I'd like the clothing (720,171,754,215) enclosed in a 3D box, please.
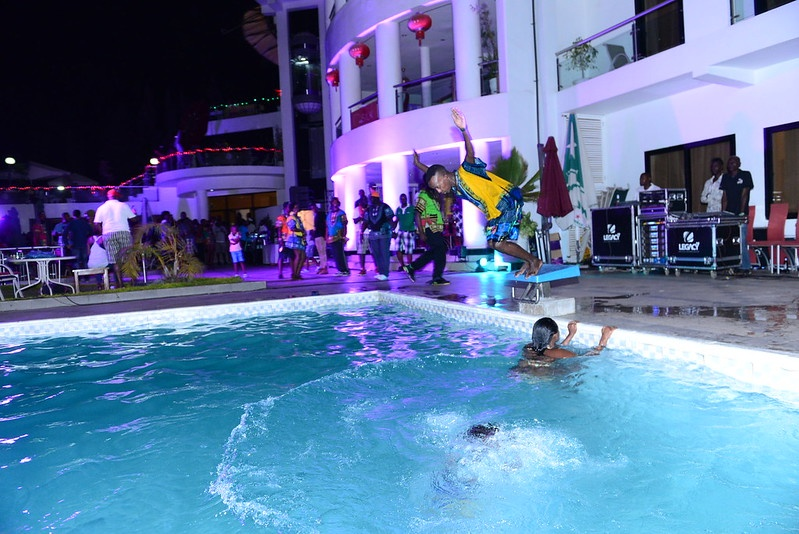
[{"bbox_3d":[6.212,-1.383,10.175,0.520,0.954,0.288,8,45,40],"label":"clothing"}]

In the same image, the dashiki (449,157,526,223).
[{"bbox_3d":[1.118,-0.971,7.387,0.910,0.655,0.359,32,-14,-4],"label":"dashiki"}]

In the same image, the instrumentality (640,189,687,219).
[{"bbox_3d":[4.928,-1.111,10.296,0.641,0.427,0.630,-3,2,-29],"label":"instrumentality"}]

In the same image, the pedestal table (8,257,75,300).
[{"bbox_3d":[-7.912,0.255,12.164,0.998,0.610,1.004,3,5,10],"label":"pedestal table"}]

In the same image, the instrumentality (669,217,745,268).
[{"bbox_3d":[5.454,-0.367,9.883,0.854,1.166,1.299,0,-2,-31],"label":"instrumentality"}]
